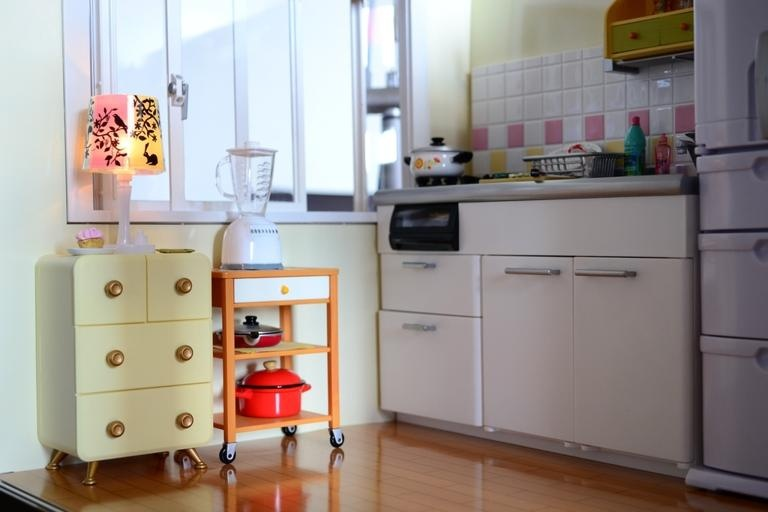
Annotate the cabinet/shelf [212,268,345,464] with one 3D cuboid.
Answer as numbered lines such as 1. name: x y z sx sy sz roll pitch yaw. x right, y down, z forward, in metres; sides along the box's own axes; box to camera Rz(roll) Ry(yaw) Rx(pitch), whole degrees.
1. cabinet/shelf: -0.639 0.549 3.193 0.798 0.910 0.687 0 -5 -20

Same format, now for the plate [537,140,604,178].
1. plate: 1.028 -0.527 3.380 0.320 0.114 0.283 -2 -2 -29

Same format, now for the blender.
1. blender: -0.714 -0.247 3.164 0.324 0.505 0.407 0 0 -16

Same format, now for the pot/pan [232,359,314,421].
1. pot/pan: -0.555 0.685 3.054 0.328 0.220 0.276 3 -6 -44

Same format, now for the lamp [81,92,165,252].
1. lamp: -1.253 -0.380 2.914 0.364 0.717 0.355 2 8 -6

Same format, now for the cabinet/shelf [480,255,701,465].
1. cabinet/shelf: 1.049 0.477 3.000 0.528 0.907 1.080 0 -3 -43

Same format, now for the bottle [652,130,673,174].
1. bottle: 1.468 -0.538 3.179 0.083 0.223 0.114 0 0 23

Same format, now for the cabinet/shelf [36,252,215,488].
1. cabinet/shelf: -1.221 0.517 2.867 0.667 0.949 0.549 2 -4 -45
